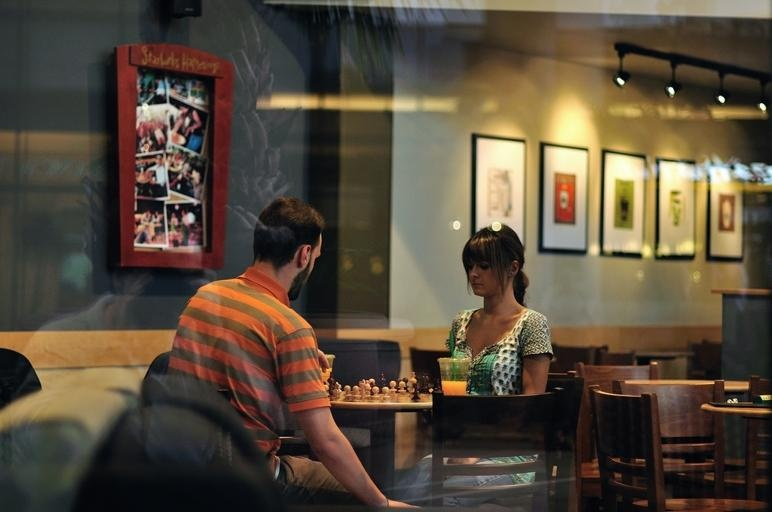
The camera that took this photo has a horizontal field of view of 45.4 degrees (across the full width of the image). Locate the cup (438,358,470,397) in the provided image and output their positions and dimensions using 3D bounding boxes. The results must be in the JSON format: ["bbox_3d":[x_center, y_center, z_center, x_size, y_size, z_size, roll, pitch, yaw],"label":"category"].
[{"bbox_3d":[0.193,0.340,2.630,0.088,0.098,0.089,0,-9,0],"label":"cup"}]

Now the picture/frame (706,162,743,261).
[{"bbox_3d":[0.909,-0.110,2.463,0.099,0.240,0.019,2,3,42],"label":"picture/frame"}]

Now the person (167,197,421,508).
[{"bbox_3d":[-0.246,0.230,2.324,0.574,0.764,0.228,-1,-3,19],"label":"person"}]

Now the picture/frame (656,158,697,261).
[{"bbox_3d":[0.777,-0.124,2.488,0.106,0.267,0.020,-1,4,-1],"label":"picture/frame"}]
